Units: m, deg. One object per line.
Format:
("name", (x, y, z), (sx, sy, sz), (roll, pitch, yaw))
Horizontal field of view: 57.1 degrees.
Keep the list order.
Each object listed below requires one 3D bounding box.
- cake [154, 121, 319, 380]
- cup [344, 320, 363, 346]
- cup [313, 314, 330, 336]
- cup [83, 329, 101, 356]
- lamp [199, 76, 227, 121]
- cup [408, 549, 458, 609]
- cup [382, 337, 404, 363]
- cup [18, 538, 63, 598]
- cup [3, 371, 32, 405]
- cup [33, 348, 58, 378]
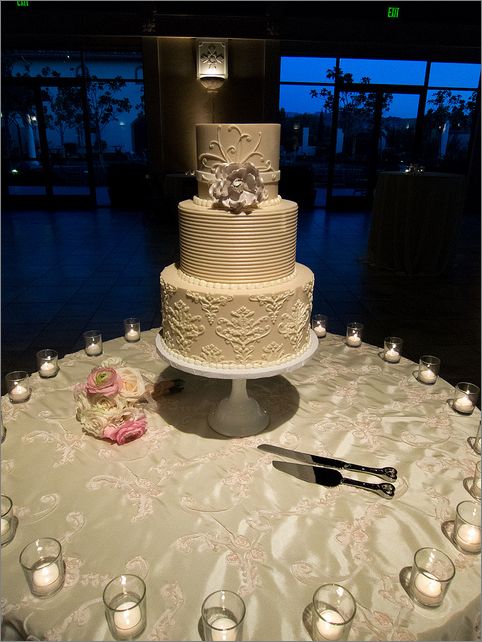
("cake", (-0.003, -0.281, 1.747), (0.745, 0.849, 0.664), (9, 11, -16))
("cup", (0.669, 0.078, 2.632), (0.126, 0.138, 0.126), (0, 14, 0))
("cup", (0.471, 0.019, 2.749), (0.142, 0.147, 0.136), (0, 12, 0))
("cup", (-0.801, 0.115, 2.476), (0.126, 0.134, 0.125), (2, 19, -1))
("lamp", (-0.571, -4.356, 8.638), (0.482, 0.787, 0.268), (1, 26, -3))
("cup", (0.450, 0.614, 1.034), (0.089, 0.085, 0.104), (5, 6, 28))
("cup", (0.837, 0.161, 2.478), (0.133, 0.137, 0.129), (0, 15, 0))
("cup", (-0.452, 0.581, 1.064), (0.100, 0.101, 0.111), (-3, 19, -10))
("cup", (-1.009, 0.290, 2.003), (0.136, 0.139, 0.126), (2, 23, -1))
("cup", (-0.953, 0.210, 2.241), (0.128, 0.134, 0.126), (3, 6, 0))
